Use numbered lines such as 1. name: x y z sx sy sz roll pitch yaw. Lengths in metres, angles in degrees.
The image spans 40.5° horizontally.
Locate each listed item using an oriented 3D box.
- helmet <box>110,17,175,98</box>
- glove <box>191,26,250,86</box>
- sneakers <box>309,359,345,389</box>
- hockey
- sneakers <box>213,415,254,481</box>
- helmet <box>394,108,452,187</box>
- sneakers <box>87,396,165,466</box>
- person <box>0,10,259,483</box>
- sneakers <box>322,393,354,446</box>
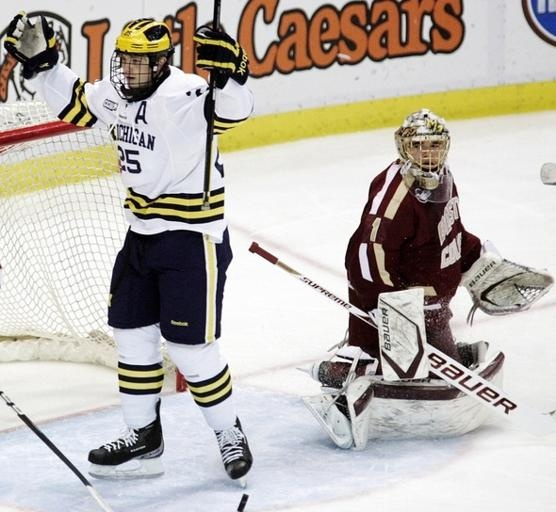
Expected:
1. helmet: -0.394 -0.570 2.178 0.192 0.195 0.159 -15 30 -34
2. glove: -0.172 -0.552 2.118 0.121 0.237 0.270 4 15 3
3. sneakers: 0.188 0.430 2.696 0.132 0.079 0.062 10 49 23
4. hockey: 0.445 0.311 2.572 1.101 0.509 0.560 11 22 11
5. sneakers: -0.140 0.579 2.281 0.071 0.076 0.191 -20 40 7
6. helmet: 0.477 -0.352 2.494 0.173 0.245 0.189 -2 19 5
7. sneakers: -0.449 0.587 2.403 0.320 0.231 0.097 0 2 -9
8. person: -0.409 -0.009 2.273 0.550 1.409 0.781 -22 26 -40
9. sneakers: 0.190 0.536 2.448 0.067 0.102 0.160 2 43 -33
